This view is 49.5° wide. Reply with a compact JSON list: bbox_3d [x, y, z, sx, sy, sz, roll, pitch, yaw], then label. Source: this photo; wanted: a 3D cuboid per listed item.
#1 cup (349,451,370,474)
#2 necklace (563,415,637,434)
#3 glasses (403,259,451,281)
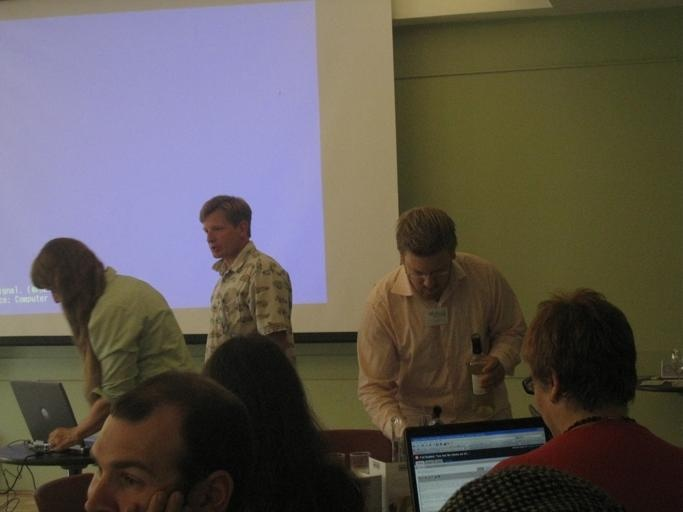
[{"bbox_3d":[0.073,0.830,2.969,0.064,0.081,0.073,0,0,29],"label":"cup"},{"bbox_3d":[0.910,0.586,2.583,0.242,0.053,0.065,-4,9,-2],"label":"necklace"},{"bbox_3d":[0.411,0.072,3.545,0.203,0.087,0.083,-3,9,4],"label":"glasses"}]
